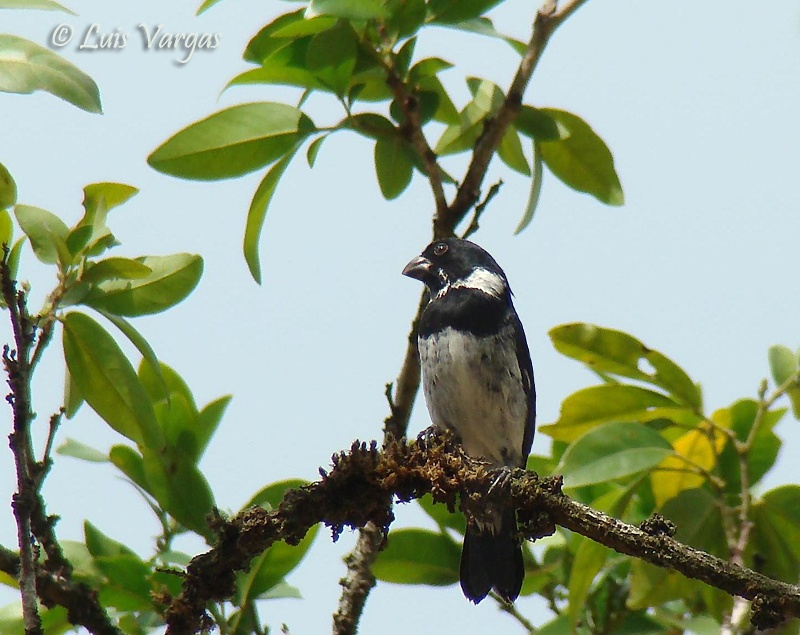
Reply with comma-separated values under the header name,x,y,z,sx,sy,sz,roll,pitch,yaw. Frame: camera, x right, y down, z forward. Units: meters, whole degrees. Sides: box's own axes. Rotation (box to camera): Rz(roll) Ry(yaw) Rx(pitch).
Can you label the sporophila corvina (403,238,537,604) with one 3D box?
name,x,y,z,sx,sy,sz,roll,pitch,yaw
sporophila corvina,0.285,0.508,5.767,0.475,1.594,0.890,-15,-57,12
